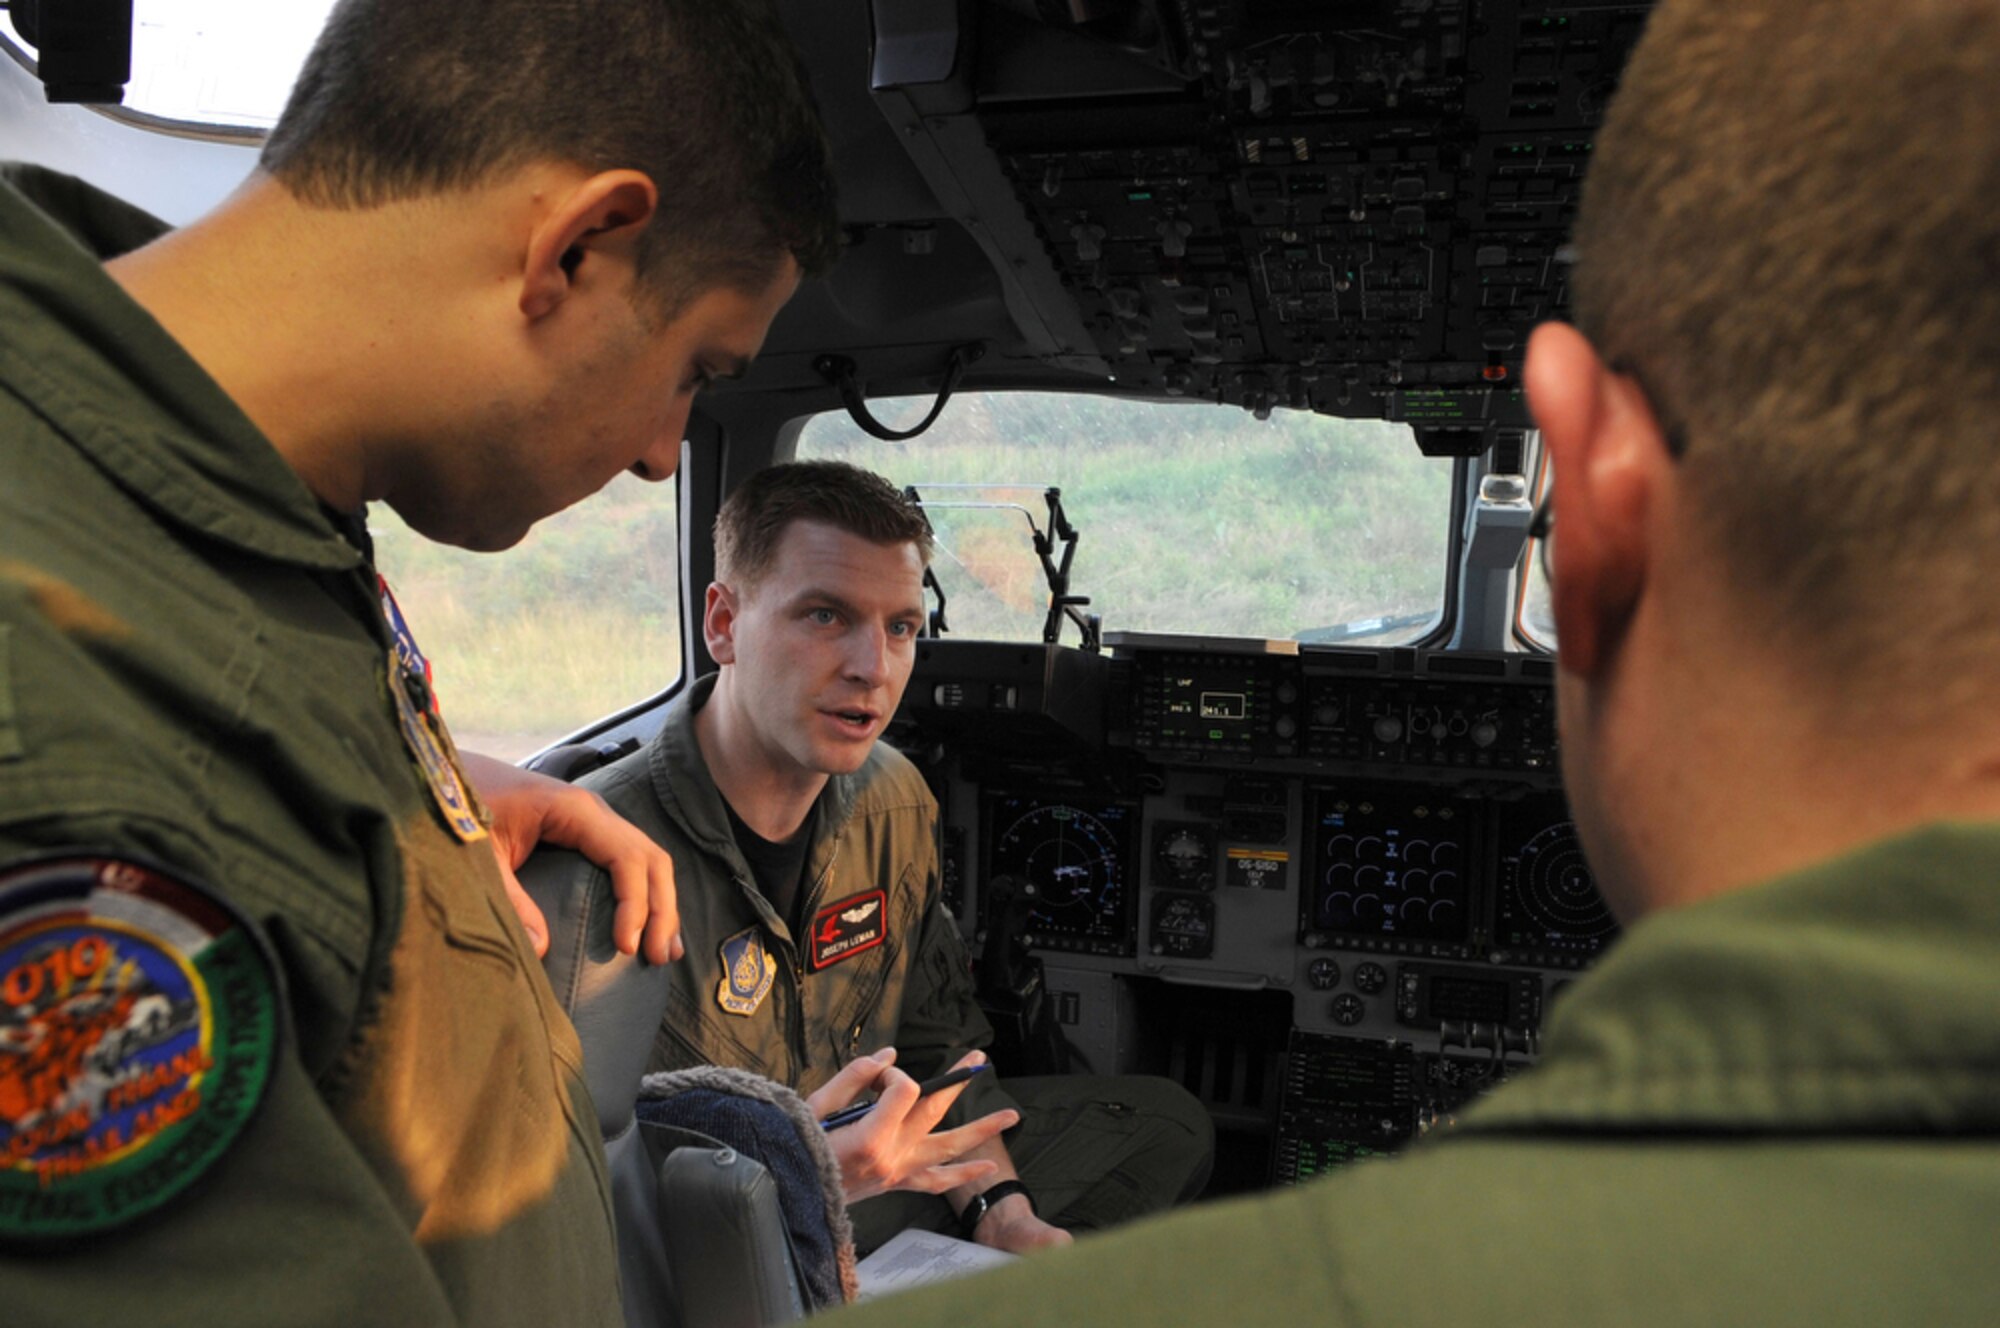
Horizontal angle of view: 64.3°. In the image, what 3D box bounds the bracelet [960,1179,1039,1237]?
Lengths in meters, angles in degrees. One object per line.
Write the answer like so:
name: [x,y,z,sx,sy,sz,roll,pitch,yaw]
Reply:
bracelet: [-0.003,1.025,3.056,0.108,0.096,0.038,-40,69,-13]
